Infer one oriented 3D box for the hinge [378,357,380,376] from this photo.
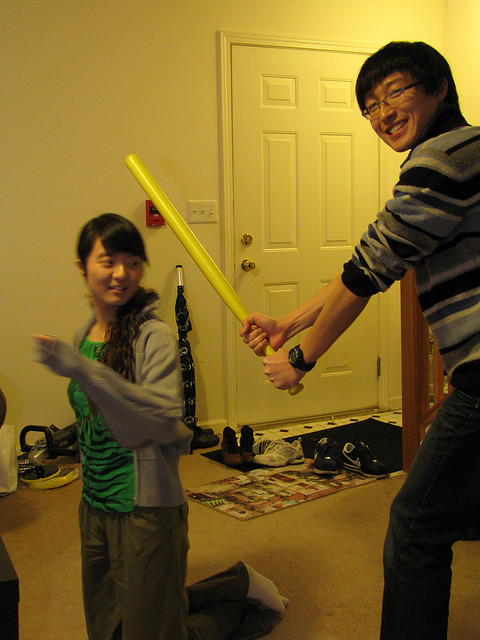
[{"bbox_3d":[0.953,0.326,3.628,0.009,0.119,0.013,-1,4,8],"label":"hinge"}]
